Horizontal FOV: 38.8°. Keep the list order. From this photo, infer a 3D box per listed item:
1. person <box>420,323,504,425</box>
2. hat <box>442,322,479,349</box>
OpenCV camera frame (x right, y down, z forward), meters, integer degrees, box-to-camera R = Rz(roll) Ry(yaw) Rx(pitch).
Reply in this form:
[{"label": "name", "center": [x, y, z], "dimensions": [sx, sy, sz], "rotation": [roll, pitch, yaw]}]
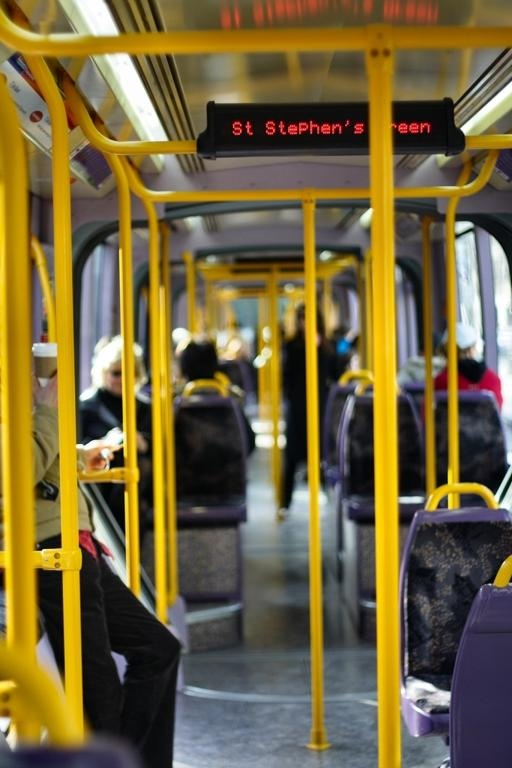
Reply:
[{"label": "person", "center": [1.360, -0.068, 4.716], "dimensions": [0.449, 0.330, 0.954], "rotation": [12, -43, 26]}, {"label": "hat", "center": [1.262, -0.299, 4.437], "dimensions": [0.201, 0.177, 0.303], "rotation": [10, 11, 33]}]
